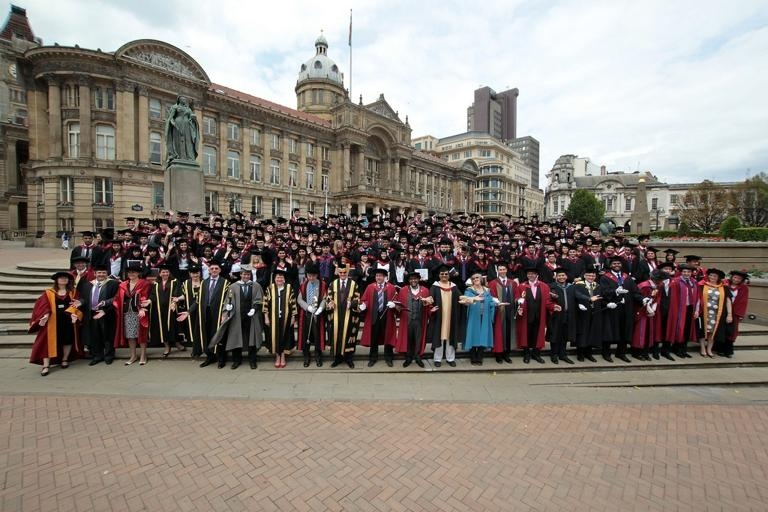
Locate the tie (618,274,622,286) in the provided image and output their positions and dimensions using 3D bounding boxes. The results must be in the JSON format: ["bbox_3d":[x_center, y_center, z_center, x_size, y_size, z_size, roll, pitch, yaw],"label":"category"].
[{"bbox_3d":[8.844,0.911,22.794,0.185,0.362,0.073,1,-1,-16],"label":"tie"}]

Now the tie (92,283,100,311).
[{"bbox_3d":[-10.346,1.447,22.013,0.287,0.940,0.132,1,-1,10],"label":"tie"}]

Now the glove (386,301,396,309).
[{"bbox_3d":[0.292,1.761,21.982,0.299,0.281,0.241,1,-1,-20],"label":"glove"}]

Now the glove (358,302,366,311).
[{"bbox_3d":[-0.746,1.821,21.906,0.282,0.296,0.197,1,-1,-10],"label":"glove"}]

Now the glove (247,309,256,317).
[{"bbox_3d":[-4.705,2.041,21.938,0.233,0.250,0.291,0,-20,-2],"label":"glove"}]

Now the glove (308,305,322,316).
[{"bbox_3d":[-2.448,1.962,22.008,0.389,0.374,0.163,9,21,11],"label":"glove"}]

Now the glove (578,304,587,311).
[{"bbox_3d":[7.295,1.888,22.370,0.269,0.095,0.193,11,5,-34],"label":"glove"}]

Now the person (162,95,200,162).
[{"bbox_3d":[-10.038,-6.252,30.664,1.482,3.388,0.811,1,-1,-29],"label":"person"}]

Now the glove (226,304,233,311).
[{"bbox_3d":[-5.495,1.836,21.807,0.259,0.237,0.140,1,-1,-18],"label":"glove"}]

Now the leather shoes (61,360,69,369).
[{"bbox_3d":[-11.307,3.872,21.776,0.216,0.258,0.181,1,-1,-30],"label":"leather shoes"}]

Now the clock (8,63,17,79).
[{"bbox_3d":[-34.918,-17.404,57.640,0.406,1.441,0.789,1,-1,0],"label":"clock"}]

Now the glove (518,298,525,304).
[{"bbox_3d":[4.998,1.647,22.236,0.201,0.192,0.059,5,19,-35],"label":"glove"}]

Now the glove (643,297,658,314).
[{"bbox_3d":[9.817,1.851,22.549,0.464,0.591,0.213,-19,0,-19],"label":"glove"}]

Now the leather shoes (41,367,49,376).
[{"bbox_3d":[-11.814,4.050,21.414,0.277,0.316,0.282,1,-1,-31],"label":"leather shoes"}]
